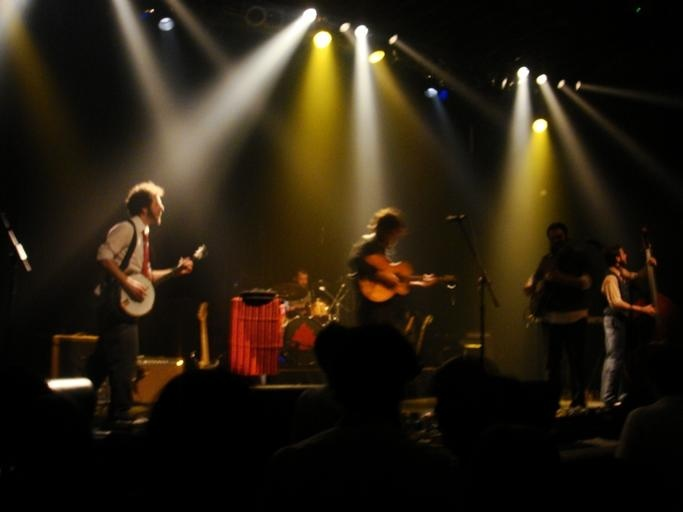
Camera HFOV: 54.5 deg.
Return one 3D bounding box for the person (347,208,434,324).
[{"bbox_3d":[0.535,0.191,8.575,0.768,1.526,0.987,-3,-23,11],"label":"person"}]
